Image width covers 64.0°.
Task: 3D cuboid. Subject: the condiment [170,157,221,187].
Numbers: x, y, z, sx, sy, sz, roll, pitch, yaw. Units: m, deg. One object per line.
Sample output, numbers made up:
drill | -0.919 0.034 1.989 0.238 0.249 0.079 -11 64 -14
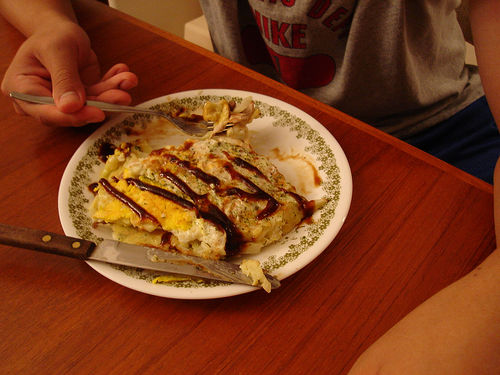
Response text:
condiment | -0.180 -0.049 1.339 0.125 0.021 0.029 34 58 12

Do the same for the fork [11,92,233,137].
fork | -0.486 -0.267 1.485 0.476 0.054 0.072 13 35 -18

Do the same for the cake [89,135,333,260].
cake | -0.143 0.030 1.300 0.572 0.128 0.412 9 52 -3
